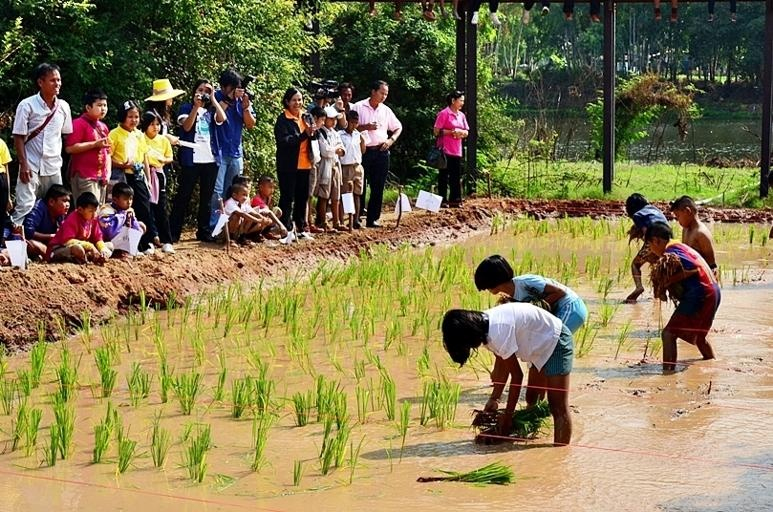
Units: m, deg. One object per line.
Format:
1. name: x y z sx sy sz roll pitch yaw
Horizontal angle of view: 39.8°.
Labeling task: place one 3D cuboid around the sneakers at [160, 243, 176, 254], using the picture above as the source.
1. sneakers: -2.848 -0.104 13.936 0.101 0.084 0.210 -7 7 -29

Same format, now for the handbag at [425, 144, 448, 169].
1. handbag: 0.840 -1.660 17.783 0.314 0.350 0.198 -2 2 -4

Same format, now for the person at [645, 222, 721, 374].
1. person: 3.216 0.409 11.471 0.761 1.547 0.625 -2 2 3

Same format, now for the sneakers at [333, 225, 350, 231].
1. sneakers: -0.677 -0.432 15.956 0.273 0.115 0.093 -1 5 2

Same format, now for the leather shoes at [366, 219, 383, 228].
1. leather shoes: -0.207 -0.521 16.791 0.241 0.103 0.105 -1 10 -6

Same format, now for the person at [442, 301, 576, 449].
1. person: 1.136 1.089 9.813 1.228 1.324 0.317 -2 2 -18

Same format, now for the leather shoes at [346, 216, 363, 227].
1. leather shoes: -0.513 -0.527 16.376 0.127 0.261 0.267 -10 -1 -28

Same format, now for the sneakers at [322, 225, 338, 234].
1. sneakers: -0.834 -0.409 15.765 0.223 0.154 0.083 -2 24 3

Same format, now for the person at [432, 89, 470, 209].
1. person: 1.101 -1.798 18.222 0.561 1.918 1.294 -1 2 4
